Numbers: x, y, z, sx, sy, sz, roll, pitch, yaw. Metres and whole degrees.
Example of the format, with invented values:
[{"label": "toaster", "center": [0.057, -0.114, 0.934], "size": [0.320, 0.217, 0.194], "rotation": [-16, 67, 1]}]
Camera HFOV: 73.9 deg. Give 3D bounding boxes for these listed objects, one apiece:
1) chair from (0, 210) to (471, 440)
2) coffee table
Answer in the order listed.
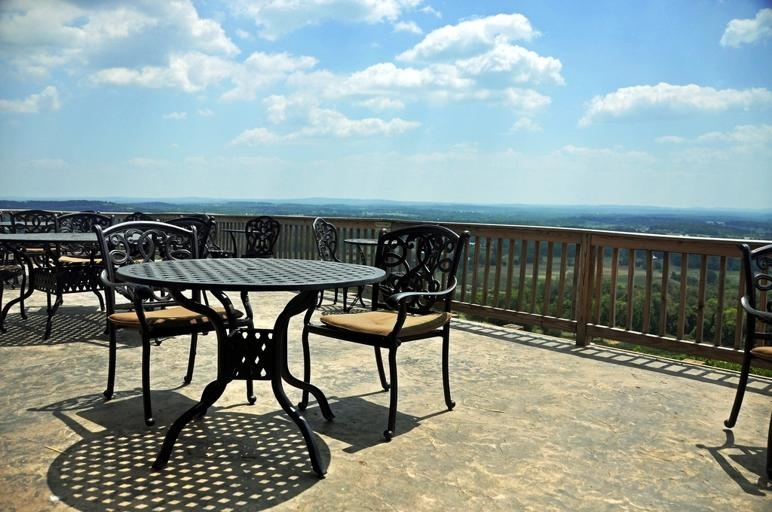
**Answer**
[{"label": "chair", "center": [-1.042, 0.346, 3.525], "size": [2.706, 1.131, 1.345], "rotation": [1, 3, 25]}, {"label": "coffee table", "center": [-0.801, 0.614, 3.072], "size": [1.563, 0.839, 1.373], "rotation": [-1, -3, 1]}]
